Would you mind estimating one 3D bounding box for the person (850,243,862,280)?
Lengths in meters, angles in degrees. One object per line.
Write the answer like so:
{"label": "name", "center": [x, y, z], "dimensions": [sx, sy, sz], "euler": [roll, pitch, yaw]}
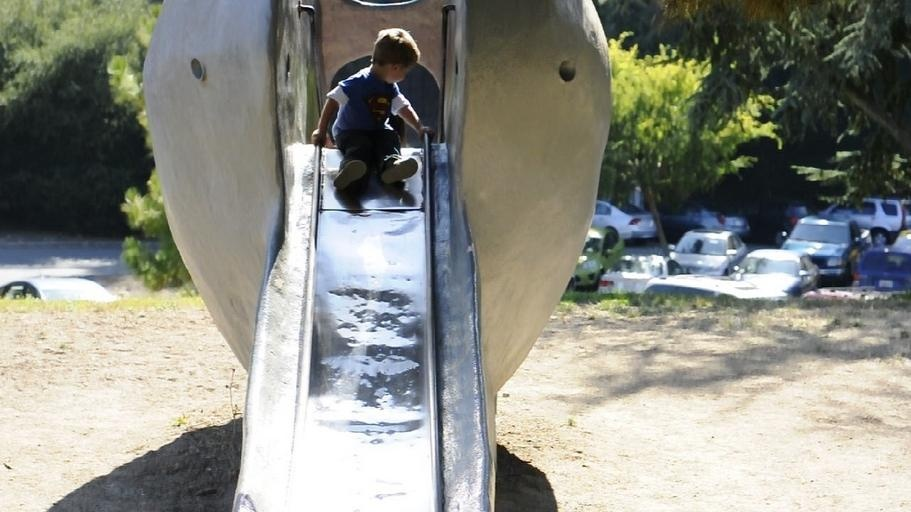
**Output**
{"label": "person", "center": [12.846, 0.187, 47.159], "dimensions": [0.258, 1.156, 0.307], "euler": [6, -8, 22]}
